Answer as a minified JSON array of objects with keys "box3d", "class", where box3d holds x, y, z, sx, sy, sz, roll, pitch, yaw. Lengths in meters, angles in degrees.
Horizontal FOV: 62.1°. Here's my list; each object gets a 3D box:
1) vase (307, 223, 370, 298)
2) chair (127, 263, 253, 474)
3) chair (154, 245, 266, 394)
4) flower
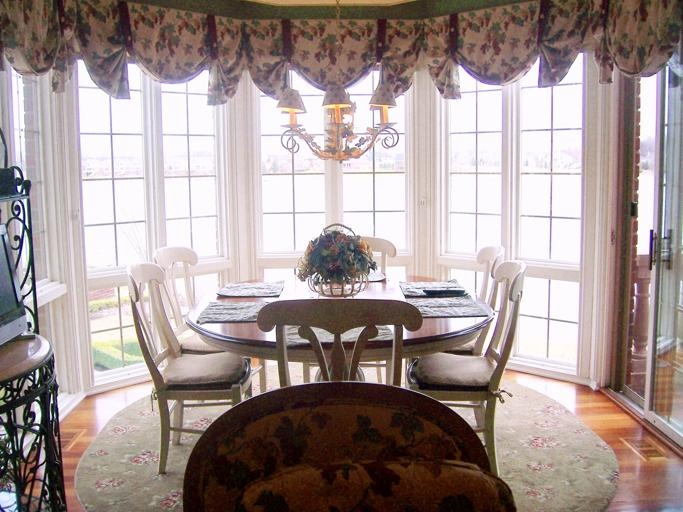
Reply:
[{"box3d":[-0.045,0.027,3.534,0.474,0.437,0.480,1,3,8],"class":"vase"},{"box3d":[-0.909,0.663,3.520,0.747,1.176,0.766,3,12,21],"class":"chair"},{"box3d":[-0.954,0.578,4.088,0.761,1.199,0.690,8,12,15],"class":"chair"},{"box3d":[-0.055,0.014,3.381,0.311,0.190,0.321,-2,-4,15],"class":"flower"}]
